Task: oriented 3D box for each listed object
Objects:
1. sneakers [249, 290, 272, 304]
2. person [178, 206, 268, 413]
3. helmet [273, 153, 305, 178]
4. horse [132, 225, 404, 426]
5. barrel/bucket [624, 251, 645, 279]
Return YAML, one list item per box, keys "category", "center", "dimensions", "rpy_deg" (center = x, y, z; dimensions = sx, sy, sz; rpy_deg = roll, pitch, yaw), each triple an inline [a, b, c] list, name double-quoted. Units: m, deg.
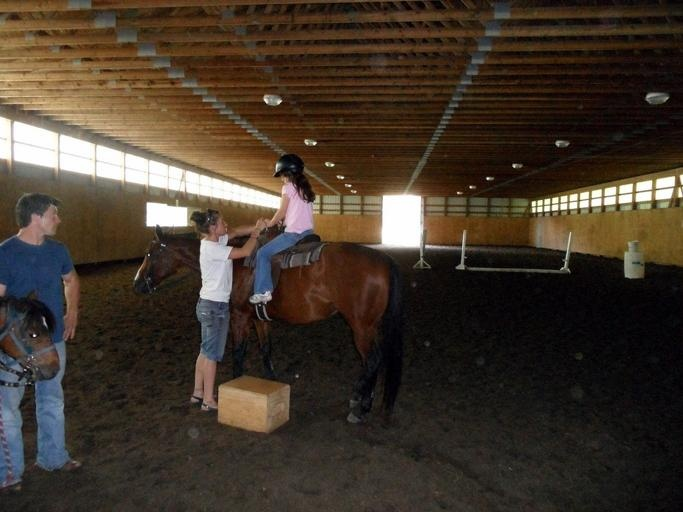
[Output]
- category: "sneakers"
  center: [-0.769, 0.401, 4.606]
  dimensions: [0.243, 0.107, 0.087]
  rpy_deg: [6, -10, -13]
- category: "person"
  center: [-1.167, 0.495, 4.627]
  dimensions: [0.650, 1.871, 0.698]
  rpy_deg: [4, 11, 17]
- category: "helmet"
  center: [-0.526, -0.905, 4.892]
  dimensions: [0.338, 0.254, 0.246]
  rpy_deg: [-9, 13, -19]
- category: "horse"
  center: [-0.788, 0.612, 5.100]
  dimensions: [2.928, 1.910, 0.692]
  rpy_deg: [3, 6, 15]
- category: "barrel/bucket"
  center: [7.588, 0.253, 12.345]
  dimensions: [0.464, 0.702, 0.649]
  rpy_deg: [7, 12, 30]
